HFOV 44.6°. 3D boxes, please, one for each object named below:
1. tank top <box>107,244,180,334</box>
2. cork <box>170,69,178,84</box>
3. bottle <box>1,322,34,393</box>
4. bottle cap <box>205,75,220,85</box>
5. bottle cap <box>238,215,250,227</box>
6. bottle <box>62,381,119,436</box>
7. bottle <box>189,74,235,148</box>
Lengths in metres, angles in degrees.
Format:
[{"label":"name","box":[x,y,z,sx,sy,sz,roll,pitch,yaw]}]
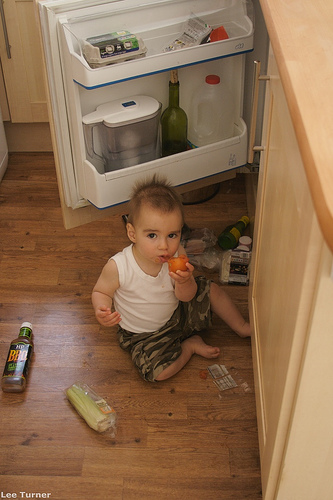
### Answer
[{"label":"tank top","box":[-0.057,0.125,1.295,0.206,0.278,0.160,-2,20,-13]},{"label":"cork","box":[0.025,-0.592,1.378,0.021,0.046,0.022,-9,38,-6]},{"label":"bottle","box":[-0.465,0.334,1.281,0.066,0.064,0.223,-5,38,-1]},{"label":"bottle cap","box":[0.163,-0.605,1.447,0.048,0.032,0.044,4,38,10]},{"label":"bottle cap","box":[0.337,-0.125,1.730,0.038,0.038,0.054,-3,11,41]},{"label":"bottle","box":[-0.217,0.431,1.143,0.083,0.045,0.152,-28,48,-28]},{"label":"bottle","box":[0.184,-0.538,1.587,0.150,0.272,0.162,-3,40,2]}]
